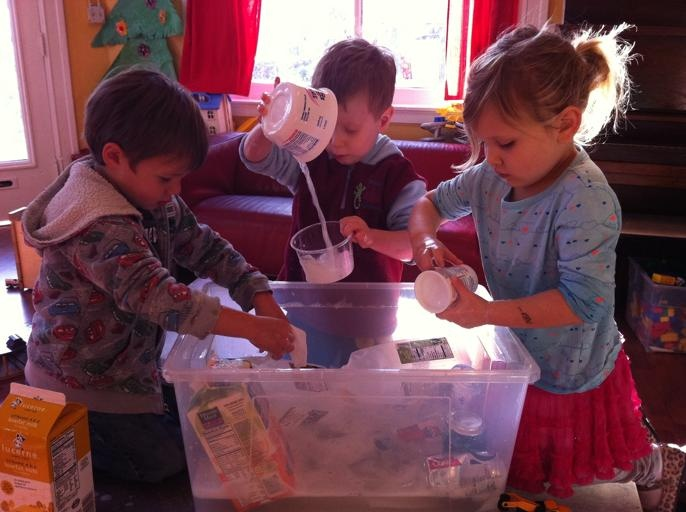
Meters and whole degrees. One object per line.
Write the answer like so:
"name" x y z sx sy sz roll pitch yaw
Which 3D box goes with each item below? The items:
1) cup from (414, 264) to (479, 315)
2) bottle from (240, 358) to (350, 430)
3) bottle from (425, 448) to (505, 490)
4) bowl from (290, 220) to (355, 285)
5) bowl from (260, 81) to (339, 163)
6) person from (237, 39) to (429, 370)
"cup" 0.246 0.076 1.201 0.170 0.094 0.081 -12 17 -39
"bottle" -0.122 0.310 1.225 0.234 0.169 0.183 -1 13 -2
"bottle" 0.284 0.499 1.229 0.160 0.090 0.058 0 14 0
"bowl" -0.046 -0.011 1.445 0.167 0.166 0.111 -1 56 -24
"bowl" -0.097 -0.331 1.352 0.186 0.189 0.137 13 2 38
"person" -0.014 -0.143 1.600 0.538 0.941 0.556 19 20 34
